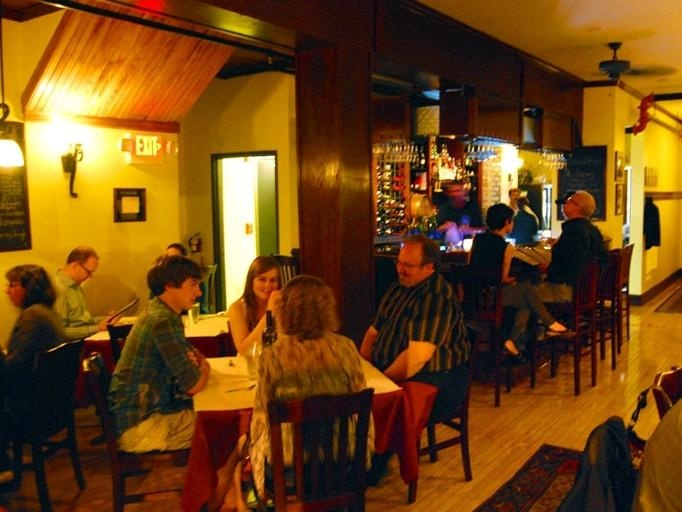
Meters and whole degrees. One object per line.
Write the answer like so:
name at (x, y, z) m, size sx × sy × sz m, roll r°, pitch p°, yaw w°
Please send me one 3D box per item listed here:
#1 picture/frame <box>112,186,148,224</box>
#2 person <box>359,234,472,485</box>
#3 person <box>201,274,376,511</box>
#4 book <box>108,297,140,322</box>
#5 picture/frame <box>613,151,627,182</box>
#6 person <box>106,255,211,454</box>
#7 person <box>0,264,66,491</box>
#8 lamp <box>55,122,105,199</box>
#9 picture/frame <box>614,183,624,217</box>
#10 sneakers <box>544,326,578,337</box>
picture/frame at (-2.549, -0.626, 6.925) m, size 0.108 × 0.331 × 0.337 m, roll 3°, pitch 28°, yaw 38°
person at (0.455, 0.735, 4.072) m, size 0.826 × 1.712 × 0.763 m, roll 0°, pitch 4°, yaw -23°
person at (-0.270, 0.790, 2.990) m, size 0.852 × 1.384 × 0.531 m, roll -1°, pitch 7°, yaw 4°
book at (-2.339, 0.545, 6.192) m, size 0.307 × 0.033 × 0.403 m, roll -46°, pitch 1°, yaw -36°
picture/frame at (4.334, -1.416, 9.060) m, size 0.068 × 0.748 × 0.520 m, roll 1°, pitch 4°, yaw 34°
person at (-1.073, 0.566, 3.414) m, size 0.534 × 1.113 × 0.250 m, roll -1°, pitch 7°, yaw -1°
person at (-2.040, 0.584, 3.843) m, size 0.346 × 1.031 × 0.470 m, roll -3°, pitch 7°, yaw -15°
lamp at (-2.944, -0.967, 6.399) m, size 0.270 × 0.649 × 0.173 m, roll -5°, pitch 8°, yaw -31°
picture/frame at (4.362, -0.899, 9.133) m, size 0.067 × 0.521 × 0.513 m, roll -1°, pitch 4°, yaw 29°
sneakers at (2.146, 0.727, 5.695) m, size 0.260 × 0.089 × 0.101 m, roll -2°, pitch -4°, yaw 23°
